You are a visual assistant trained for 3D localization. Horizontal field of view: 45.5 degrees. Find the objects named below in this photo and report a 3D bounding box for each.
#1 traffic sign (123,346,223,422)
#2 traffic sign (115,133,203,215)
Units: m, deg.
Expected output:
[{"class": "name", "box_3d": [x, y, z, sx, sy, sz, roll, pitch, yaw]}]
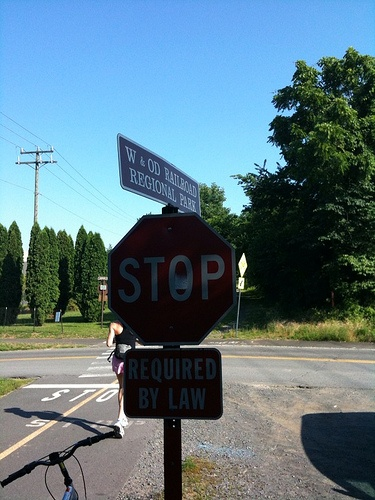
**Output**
[{"class": "traffic sign", "box_3d": [-0.073, 0.700, 2.338, 0.341, 0.284, 0.041, -1, -6, 11]}, {"class": "traffic sign", "box_3d": [-0.108, -0.418, 2.918, 0.049, 0.320, 1.058, -7, -11, 26]}]
